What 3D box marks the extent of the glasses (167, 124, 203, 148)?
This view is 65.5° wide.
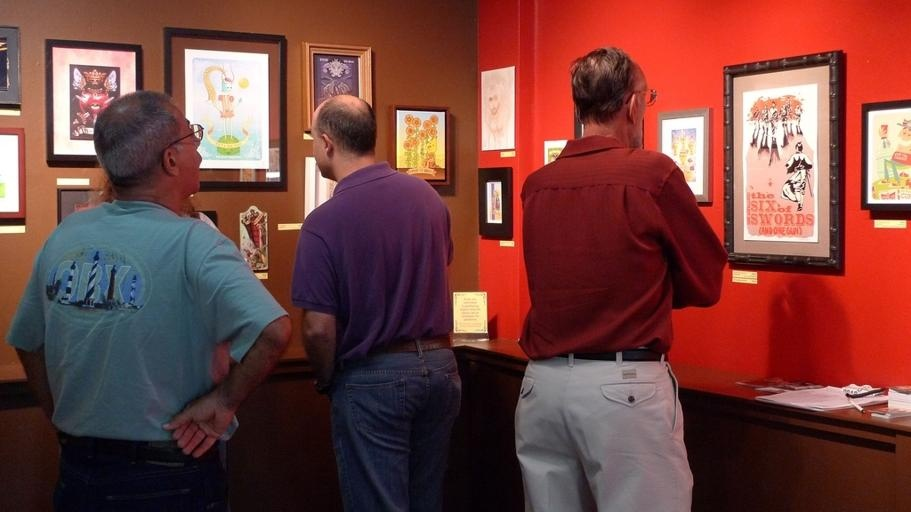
[{"bbox_3d":[-1.229,-0.539,3.192,0.160,0.049,0.155,-17,14,-9],"label":"glasses"}]

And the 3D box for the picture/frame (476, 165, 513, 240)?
[{"bbox_3d":[0.295,-0.371,5.108,0.086,0.539,0.332,-3,10,-38],"label":"picture/frame"}]
